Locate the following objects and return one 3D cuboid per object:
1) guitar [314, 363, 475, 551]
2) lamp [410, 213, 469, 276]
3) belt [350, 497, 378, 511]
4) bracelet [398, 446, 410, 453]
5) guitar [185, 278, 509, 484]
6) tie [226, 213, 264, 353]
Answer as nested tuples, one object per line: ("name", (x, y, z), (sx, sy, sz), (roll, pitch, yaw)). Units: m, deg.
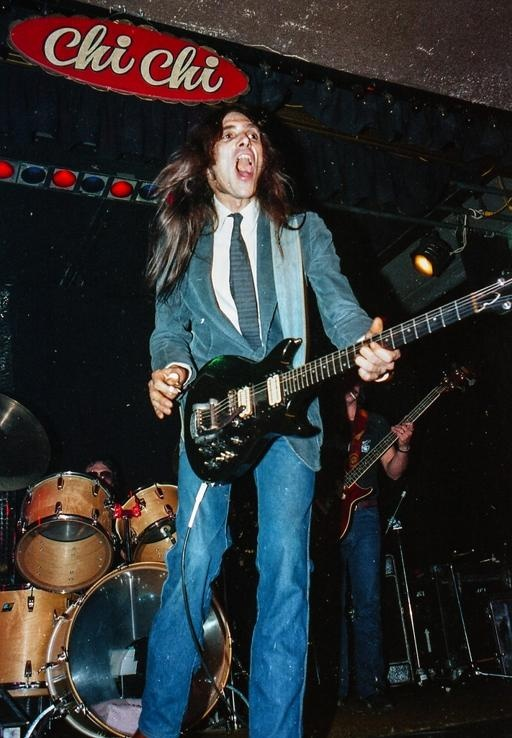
("guitar", (1.177, 0.796, 5.550), (0.233, 1.911, 0.562), (43, 3, -12))
("lamp", (1.527, -1.075, 5.736), (0.428, 0.642, 0.317), (-14, 5, 4))
("belt", (0.717, 0.881, 4.439), (0.135, 0.078, 0.031), (-19, -24, 2))
("bracelet", (1.063, 0.575, 4.873), (0.052, 0.029, 0.068), (-2, -5, 5))
("guitar", (0.678, 0.123, 3.956), (2.040, 0.638, 0.339), (-22, -26, 27))
("tie", (-0.039, -0.387, 2.711), (0.126, 0.481, 0.073), (-1, -23, -8))
